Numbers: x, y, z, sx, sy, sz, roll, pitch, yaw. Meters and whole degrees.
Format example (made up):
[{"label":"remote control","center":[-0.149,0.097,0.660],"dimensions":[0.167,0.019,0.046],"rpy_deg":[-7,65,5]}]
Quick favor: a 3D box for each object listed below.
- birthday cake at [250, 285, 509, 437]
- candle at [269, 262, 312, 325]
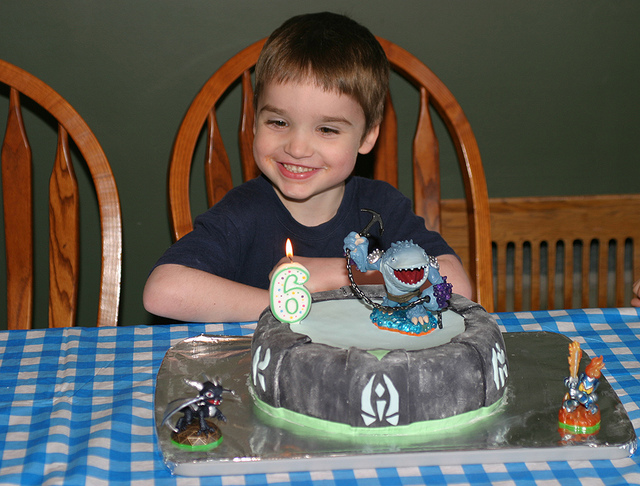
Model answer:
[{"label":"birthday cake","center":[0.147,0.245,1.398],"dimensions":[0.687,0.214,0.737],"rpy_deg":[0,1,32]},{"label":"candle","center":[-0.060,0.085,1.219],"dimensions":[0.092,0.111,0.087],"rpy_deg":[16,21,35]}]
